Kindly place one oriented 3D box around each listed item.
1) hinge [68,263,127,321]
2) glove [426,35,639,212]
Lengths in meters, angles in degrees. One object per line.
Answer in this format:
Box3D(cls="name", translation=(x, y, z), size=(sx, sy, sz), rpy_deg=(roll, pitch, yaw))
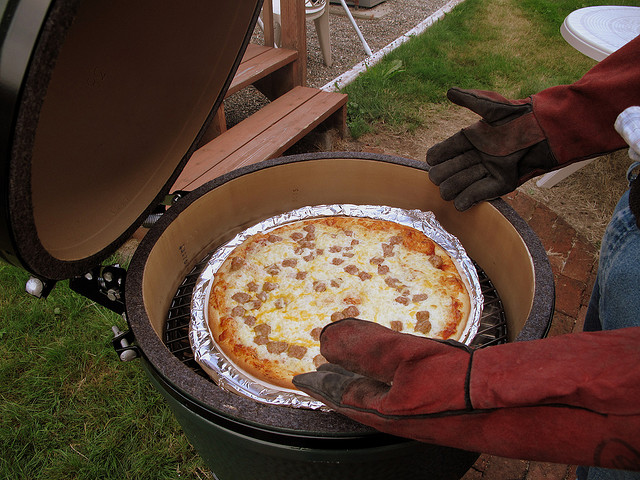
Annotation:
Box3D(cls="hinge", translation=(-0.656, 0.140, 1.550), size=(0.181, 0.155, 0.135), rpy_deg=(25, 80, 2))
Box3D(cls="glove", translation=(0.703, -0.318, 1.835), size=(0.336, 0.907, 0.398), rpy_deg=(-8, 75, -39))
